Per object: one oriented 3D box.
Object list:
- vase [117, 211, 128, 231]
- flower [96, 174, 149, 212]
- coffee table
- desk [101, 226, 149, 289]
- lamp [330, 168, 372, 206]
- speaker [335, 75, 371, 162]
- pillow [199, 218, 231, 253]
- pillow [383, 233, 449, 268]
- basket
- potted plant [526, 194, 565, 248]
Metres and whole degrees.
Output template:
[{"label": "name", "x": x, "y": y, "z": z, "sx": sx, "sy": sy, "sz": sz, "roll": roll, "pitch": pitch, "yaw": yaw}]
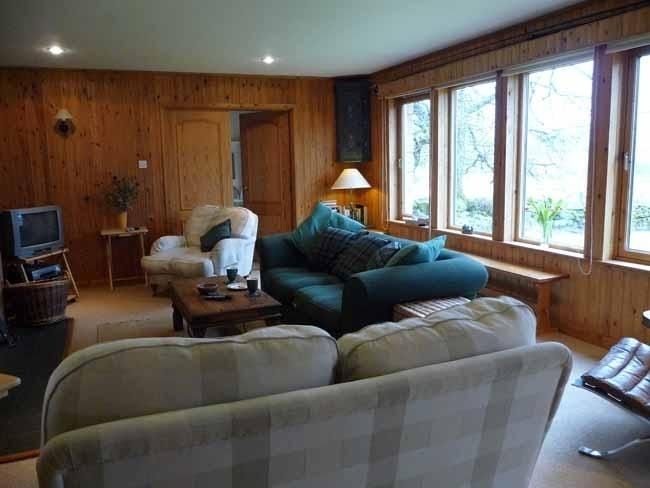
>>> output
[{"label": "vase", "x": -2.590, "y": -0.321, "z": 6.294, "sx": 0.127, "sy": 0.230, "sz": 0.312, "roll": -5, "pitch": 12, "yaw": -21}, {"label": "flower", "x": -2.609, "y": -0.698, "z": 6.345, "sx": 0.477, "sy": 0.416, "sz": 0.477, "roll": 8, "pitch": 12, "yaw": 33}, {"label": "coffee table", "x": -0.780, "y": 0.483, "z": 3.876, "sx": 0.574, "sy": 0.373, "sz": 0.809, "roll": -7, "pitch": 14, "yaw": -31}, {"label": "desk", "x": -2.615, "y": 0.155, "z": 6.353, "sx": 0.642, "sy": 0.805, "sz": 0.391, "roll": -7, "pitch": 20, "yaw": -28}, {"label": "lamp", "x": 0.382, "y": -0.808, "z": 6.953, "sx": 0.570, "sy": 0.528, "sz": 0.659, "roll": 0, "pitch": 11, "yaw": 3}, {"label": "speaker", "x": 0.401, "y": -1.748, "z": 6.964, "sx": 0.503, "sy": 1.102, "sz": 0.153, "roll": 1, "pitch": 12, "yaw": 5}, {"label": "pillow", "x": -1.261, "y": -0.095, "z": 5.703, "sx": 0.370, "sy": 0.351, "sz": 0.394, "roll": -3, "pitch": 12, "yaw": -14}, {"label": "pillow", "x": 0.665, "y": 0.071, "z": 3.729, "sx": 0.311, "sy": 0.116, "sz": 0.313, "roll": -9, "pitch": 3, "yaw": 25}, {"label": "basket", "x": -2.866, "y": 0.548, "z": 4.901, "sx": 0.430, "sy": 0.367, "sz": 0.498, "roll": -3, "pitch": -5, "yaw": 30}, {"label": "potted plant", "x": 2.015, "y": -0.242, "z": 4.762, "sx": 0.382, "sy": 0.452, "sz": 0.366, "roll": -1, "pitch": 5, "yaw": -10}]
